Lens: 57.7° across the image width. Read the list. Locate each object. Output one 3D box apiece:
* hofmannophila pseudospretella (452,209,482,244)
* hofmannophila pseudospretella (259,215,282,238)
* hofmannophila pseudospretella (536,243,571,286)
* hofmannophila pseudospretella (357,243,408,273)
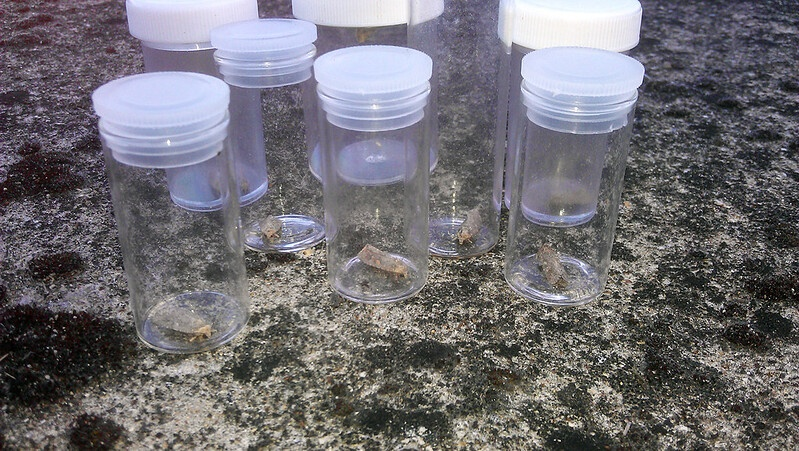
[{"bbox_3d":[0.253,0.001,2.599,0.053,0.075,0.167,22,90,-1],"label":"hofmannophila pseudospretella"},{"bbox_3d":[-0.463,-0.006,2.647,0.069,0.048,0.108,1,46,4],"label":"hofmannophila pseudospretella"},{"bbox_3d":[0.529,0.135,2.519,0.092,0.035,0.134,7,52,-29],"label":"hofmannophila pseudospretella"},{"bbox_3d":[-0.077,0.110,2.518,0.231,0.061,0.114,8,67,-38],"label":"hofmannophila pseudospretella"}]
